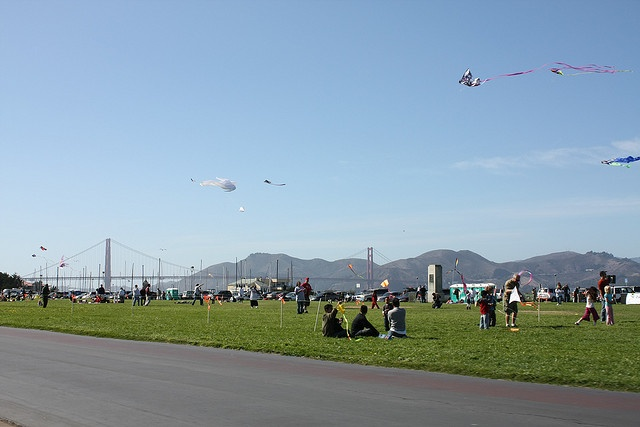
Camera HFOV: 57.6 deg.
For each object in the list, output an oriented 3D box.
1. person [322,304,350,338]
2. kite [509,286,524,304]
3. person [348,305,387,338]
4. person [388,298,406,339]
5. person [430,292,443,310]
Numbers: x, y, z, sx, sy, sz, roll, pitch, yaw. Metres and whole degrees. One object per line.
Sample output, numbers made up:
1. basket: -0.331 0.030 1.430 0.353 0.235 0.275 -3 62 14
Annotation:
1. person: 0.597 3.892 21.348 0.975 1.264 0.861 -16 -4 23
2. kite: 8.337 3.510 24.831 0.801 0.814 0.549 1 -4 44
3. person: 1.497 4.035 21.164 0.972 1.060 1.497 -2 0 -35
4. person: 2.738 3.705 20.725 0.629 1.346 1.170 -4 -11 12
5. person: 9.775 7.246 48.643 0.603 1.157 1.332 -2 -10 5
